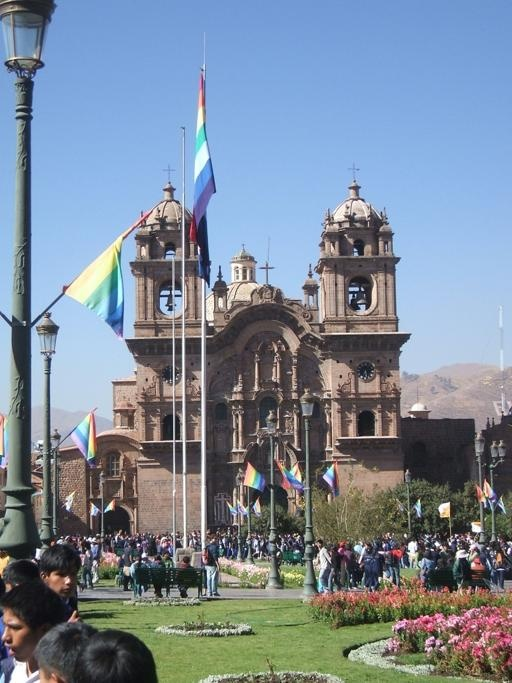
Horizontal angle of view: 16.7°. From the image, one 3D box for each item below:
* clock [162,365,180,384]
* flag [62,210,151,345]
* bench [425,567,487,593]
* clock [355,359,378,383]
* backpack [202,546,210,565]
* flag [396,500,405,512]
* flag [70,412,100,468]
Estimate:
[{"bbox_3d":[-3.839,1.418,74.490,0.849,1.007,0.218,-5,1,18],"label":"clock"},{"bbox_3d":[-2.371,-0.844,26.002,0.765,1.509,0.352,1,-10,-12],"label":"flag"},{"bbox_3d":[3.986,4.674,35.101,1.237,0.605,1.440,-2,-11,6],"label":"bench"},{"bbox_3d":[4.656,1.243,74.281,0.820,1.122,0.072,-1,-9,24],"label":"clock"},{"bbox_3d":[-1.107,4.752,38.715,0.210,0.341,0.111,2,4,37],"label":"backpack"},{"bbox_3d":[5.701,6.487,69.367,0.204,0.279,0.569,-15,35,11],"label":"flag"},{"bbox_3d":[-4.042,2.219,40.440,0.607,0.364,1.736,2,35,-6],"label":"flag"}]
